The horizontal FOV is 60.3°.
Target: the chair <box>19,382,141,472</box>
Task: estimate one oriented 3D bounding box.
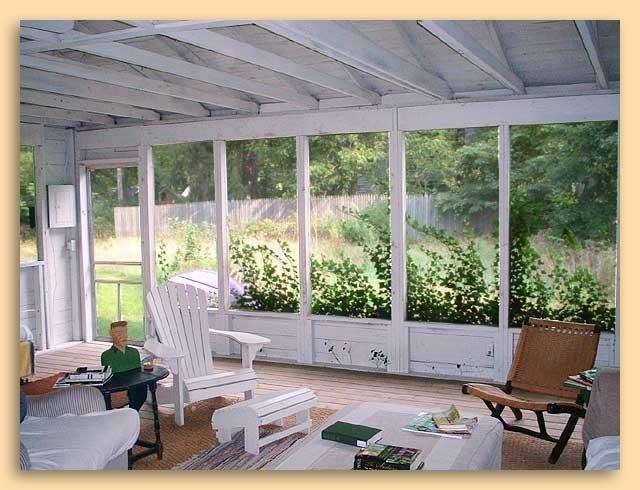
[{"bbox_3d":[-1.630,1.182,3.585,0.737,0.416,0.548,-6,-6,36],"label":"chair"}]

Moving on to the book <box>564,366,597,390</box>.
[{"bbox_3d":[2.004,1.038,4.255,0.220,0.065,0.217,-1,4,32],"label":"book"}]

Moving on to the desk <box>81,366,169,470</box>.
[{"bbox_3d":[-1.420,1.261,4.439,0.622,0.720,0.821,-2,-1,29],"label":"desk"}]

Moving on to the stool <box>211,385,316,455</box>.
[{"bbox_3d":[-0.458,1.393,4.473,0.572,0.331,0.787,1,-3,27],"label":"stool"}]

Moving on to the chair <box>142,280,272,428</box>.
[{"bbox_3d":[-1.151,0.969,5.108,1.000,0.911,1.086,-6,14,-36],"label":"chair"}]
